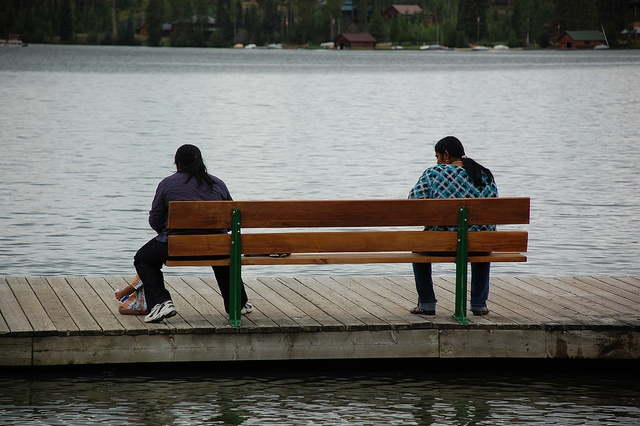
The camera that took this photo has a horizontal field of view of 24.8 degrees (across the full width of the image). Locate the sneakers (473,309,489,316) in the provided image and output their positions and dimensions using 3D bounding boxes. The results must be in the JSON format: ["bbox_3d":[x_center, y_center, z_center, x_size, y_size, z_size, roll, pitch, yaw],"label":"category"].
[{"bbox_3d":[4.561,2.783,41.261,0.456,0.148,0.181,-2,16,-18],"label":"sneakers"}]

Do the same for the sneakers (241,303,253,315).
[{"bbox_3d":[-2.028,2.679,41.211,0.470,0.196,0.175,-14,18,-13],"label":"sneakers"}]
